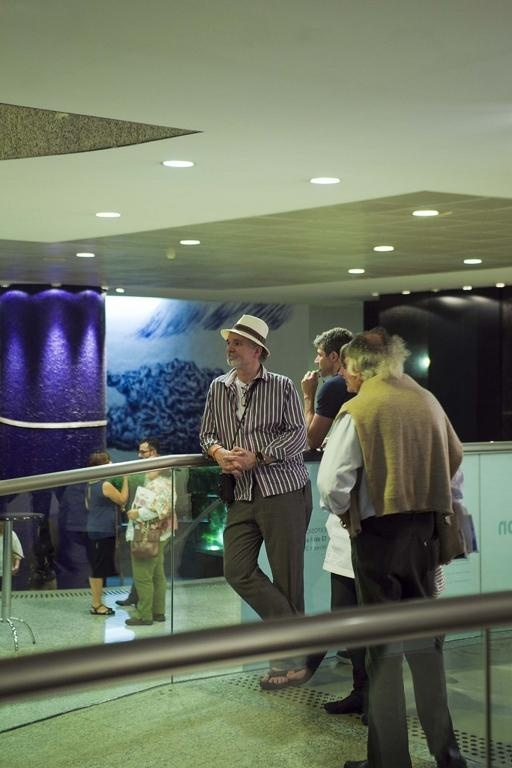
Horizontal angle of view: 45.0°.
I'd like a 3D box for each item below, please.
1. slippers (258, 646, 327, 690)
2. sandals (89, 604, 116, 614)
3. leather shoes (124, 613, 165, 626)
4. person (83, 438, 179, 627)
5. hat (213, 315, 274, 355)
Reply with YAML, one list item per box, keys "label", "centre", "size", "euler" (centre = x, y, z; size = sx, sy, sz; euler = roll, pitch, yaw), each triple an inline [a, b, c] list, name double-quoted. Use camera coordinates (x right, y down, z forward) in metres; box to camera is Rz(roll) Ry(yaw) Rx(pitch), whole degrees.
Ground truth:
- label: "slippers"
  centre: [0.038, 0.360, 0.795]
  size: [0.064, 0.046, 0.154]
  euler: [2, -21, -33]
- label: "sandals"
  centre: [-0.727, 1.055, 2.910]
  size: [0.111, 0.043, 0.052]
  euler: [0, -2, 9]
- label: "leather shoes"
  centre: [-0.534, 1.127, 2.974]
  size: [0.187, 0.068, 0.061]
  euler: [7, -7, -23]
- label: "person"
  centre: [-0.588, 0.801, 2.974]
  size: [0.442, 0.756, 0.144]
  euler: [0, -1, -21]
- label: "hat"
  centre: [-0.049, -0.188, 2.836]
  size: [0.194, 0.109, 0.206]
  euler: [22, -11, 41]
